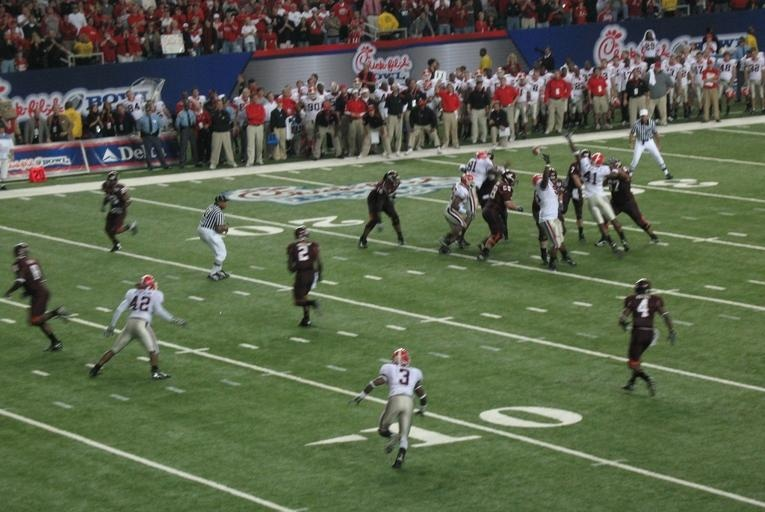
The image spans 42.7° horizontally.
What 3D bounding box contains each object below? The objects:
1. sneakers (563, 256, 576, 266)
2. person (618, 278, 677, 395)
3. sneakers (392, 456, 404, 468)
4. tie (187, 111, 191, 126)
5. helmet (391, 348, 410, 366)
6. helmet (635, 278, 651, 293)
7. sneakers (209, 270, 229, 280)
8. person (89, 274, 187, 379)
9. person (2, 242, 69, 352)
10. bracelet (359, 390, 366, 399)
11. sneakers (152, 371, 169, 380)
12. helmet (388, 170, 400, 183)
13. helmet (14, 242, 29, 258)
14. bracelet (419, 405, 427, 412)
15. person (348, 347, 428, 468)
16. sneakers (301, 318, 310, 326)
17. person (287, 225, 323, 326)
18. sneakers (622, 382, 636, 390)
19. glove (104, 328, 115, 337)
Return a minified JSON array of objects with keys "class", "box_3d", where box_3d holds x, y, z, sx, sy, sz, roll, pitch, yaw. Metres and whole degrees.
[{"class":"sneakers","box_3d":[4.343,0.121,22.480,0.140,0.154,0.400,-29,33,-31]},{"class":"person","box_3d":[4.509,1.370,16.867,0.797,1.875,0.794,8,14,38]},{"class":"sneakers","box_3d":[0.236,3.091,14.748,0.141,0.201,0.054,23,54,3]},{"class":"tie","box_3d":[-6.362,-4.505,32.369,0.193,0.440,0.108,-7,13,-29]},{"class":"helmet","box_3d":[0.322,1.548,15.096,0.290,0.275,0.321,0,-1,-17]},{"class":"helmet","box_3d":[4.615,0.527,17.360,0.256,0.232,0.201,38,21,-8]},{"class":"sneakers","box_3d":[-3.718,0.453,22.105,0.539,0.210,0.171,-8,19,-23]},{"class":"person","box_3d":[-4.715,1.426,18.789,1.398,1.478,0.944,24,26,24]},{"class":"person","box_3d":[-6.720,0.750,18.915,1.021,1.985,1.238,-5,12,-21]},{"class":"bracelet","box_3d":[-0.302,2.094,14.878,0.134,0.096,0.297,-30,-6,-5]},{"class":"sneakers","box_3d":[-3.918,2.123,17.496,0.377,0.152,0.128,1,10,10]},{"class":"helmet","box_3d":[0.286,-1.916,23.713,0.273,0.316,0.351,1,-4,-38]},{"class":"helmet","box_3d":[-6.913,-0.100,18.676,0.206,0.222,0.330,-6,12,-27]},{"class":"bracelet","box_3d":[0.608,2.348,15.173,0.127,0.106,0.070,8,13,27]},{"class":"person","box_3d":[0.172,2.311,14.964,0.913,1.687,0.865,0,11,4]},{"class":"sneakers","box_3d":[-1.523,1.339,19.627,0.120,0.154,0.167,4,-3,-34]},{"class":"person","box_3d":[-1.582,0.406,19.737,0.658,1.927,1.027,-2,11,-4]},{"class":"sneakers","box_3d":[4.243,2.244,16.864,0.089,0.154,0.251,-11,19,-31]},{"class":"glove","box_3d":[-4.928,1.353,17.634,0.211,0.095,0.264,-8,8,-2]}]
